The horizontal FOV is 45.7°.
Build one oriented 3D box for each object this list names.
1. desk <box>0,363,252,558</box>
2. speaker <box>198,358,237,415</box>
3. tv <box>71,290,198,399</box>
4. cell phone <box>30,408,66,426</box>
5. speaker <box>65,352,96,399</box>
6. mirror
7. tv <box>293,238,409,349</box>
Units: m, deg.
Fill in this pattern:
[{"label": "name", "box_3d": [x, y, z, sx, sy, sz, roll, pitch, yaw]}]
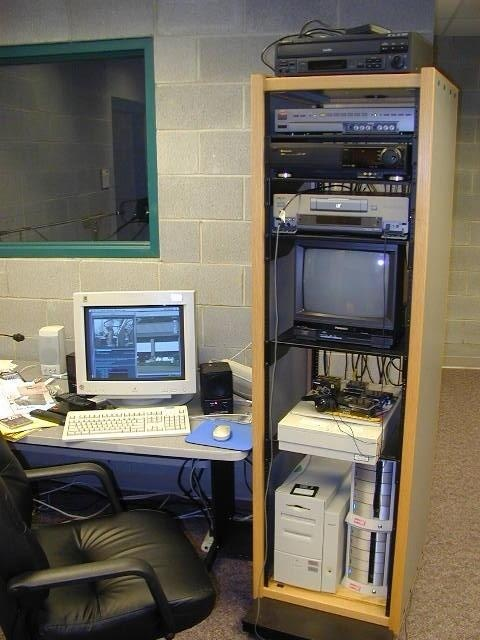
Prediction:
[{"label": "desk", "box_3d": [-0.292, 0.569, 2.077, 1.066, 0.512, 0.569, 0, 7, 11]}, {"label": "speaker", "box_3d": [-0.090, 0.255, 2.140, 0.119, 0.176, 0.152, 0, 8, -4]}, {"label": "tv", "box_3d": [-0.411, 0.067, 2.267, 0.458, 0.426, 0.249, -1, 18, -7]}, {"label": "cell phone", "box_3d": [-0.694, 0.350, 2.067, 0.176, 0.024, 0.052, 11, 15, 31]}, {"label": "speaker", "box_3d": [-0.618, 0.216, 2.220, 0.089, 0.159, 0.163, -1, 11, -2]}, {"label": "mirror", "box_3d": [-0.700, -0.811, 2.580, 0.963, 0.909, 0.044, 1, 12, 7]}, {"label": "tv", "box_3d": [0.360, -0.103, 1.817, 0.340, 0.314, 0.253, 6, 15, 23]}]
